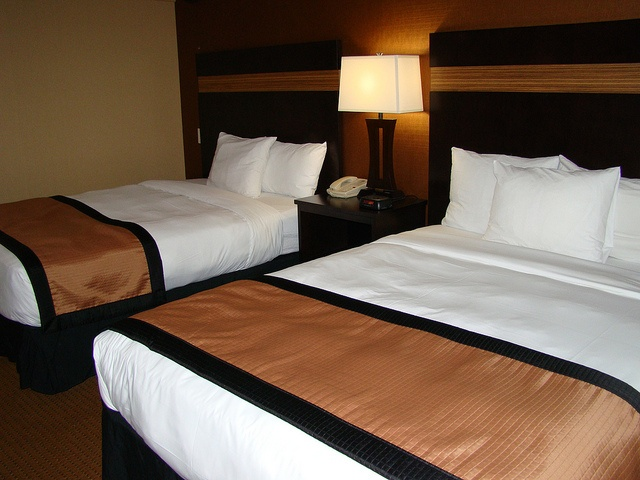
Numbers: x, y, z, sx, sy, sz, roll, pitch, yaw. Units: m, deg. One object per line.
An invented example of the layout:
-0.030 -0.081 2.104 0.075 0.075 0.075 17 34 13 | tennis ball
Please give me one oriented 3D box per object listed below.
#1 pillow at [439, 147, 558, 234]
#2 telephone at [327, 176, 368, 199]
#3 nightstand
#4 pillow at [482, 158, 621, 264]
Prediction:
1.069 -0.282 2.666 0.172 0.349 0.482 29 -7 -39 | pillow
0.237 -0.419 3.586 0.238 0.088 0.176 -19 26 -39 | telephone
0.309 -0.270 3.498 0.779 0.775 0.605 11 18 43 | nightstand
1.240 -0.132 2.397 0.506 0.369 0.191 9 -23 41 | pillow
